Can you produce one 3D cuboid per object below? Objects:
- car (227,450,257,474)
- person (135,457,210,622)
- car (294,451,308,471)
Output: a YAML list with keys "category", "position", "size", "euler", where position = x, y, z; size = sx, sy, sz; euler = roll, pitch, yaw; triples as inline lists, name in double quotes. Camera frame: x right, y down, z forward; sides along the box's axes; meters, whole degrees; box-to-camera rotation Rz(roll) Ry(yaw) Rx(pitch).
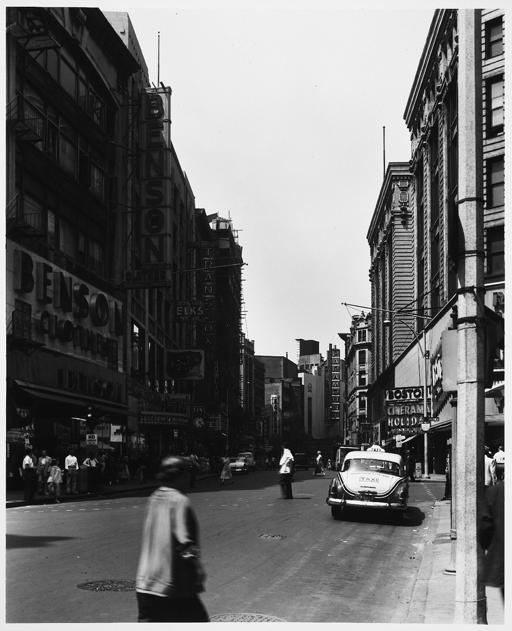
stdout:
- category: "car"
  position: [-1.001, 9.670, 64.768]
  size: [0.938, 1.214, 3.591]
  euler: [-3, -17, 3]
- category: "person"
  position: [-0.701, 1.807, 8.096]
  size: [0.587, 1.352, 0.430]
  euler: [-1, -11, 0]
- category: "car"
  position: [3.775, 12.343, 83.872]
  size: [1.055, 1.806, 2.709]
  euler: [-2, -15, 5]
